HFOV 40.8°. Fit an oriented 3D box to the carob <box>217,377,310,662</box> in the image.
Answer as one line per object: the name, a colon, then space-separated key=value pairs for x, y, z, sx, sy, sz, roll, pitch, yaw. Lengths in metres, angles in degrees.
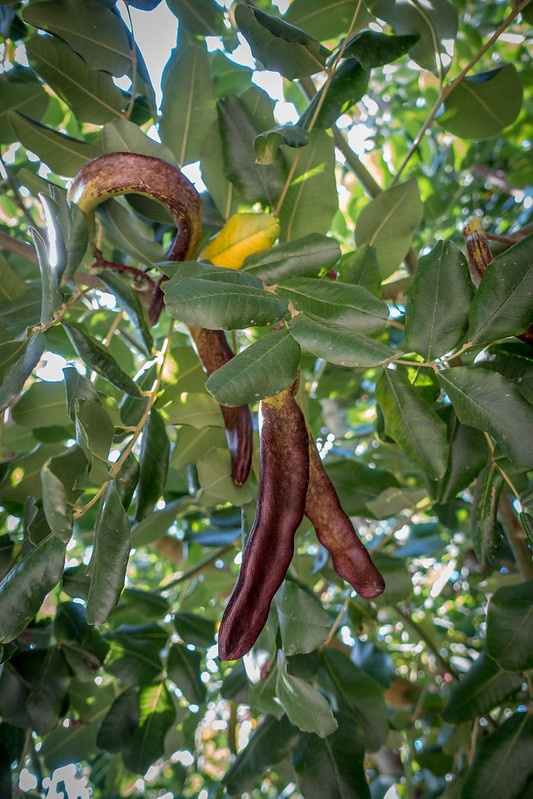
carob: x=-0.004 y=0.123 z=0.855 sx=0.080 sy=0.352 sz=0.050 roll=28 pitch=-21 yaw=-22

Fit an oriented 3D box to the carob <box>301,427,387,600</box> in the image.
carob: x=0.065 y=0.111 z=0.917 sx=0.062 sy=0.270 sz=0.071 roll=-18 pitch=-28 yaw=-4

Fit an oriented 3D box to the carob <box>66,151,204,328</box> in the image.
carob: x=-0.166 y=-0.246 z=0.938 sx=0.158 sy=0.202 sz=0.147 roll=-17 pitch=1 yaw=-1
